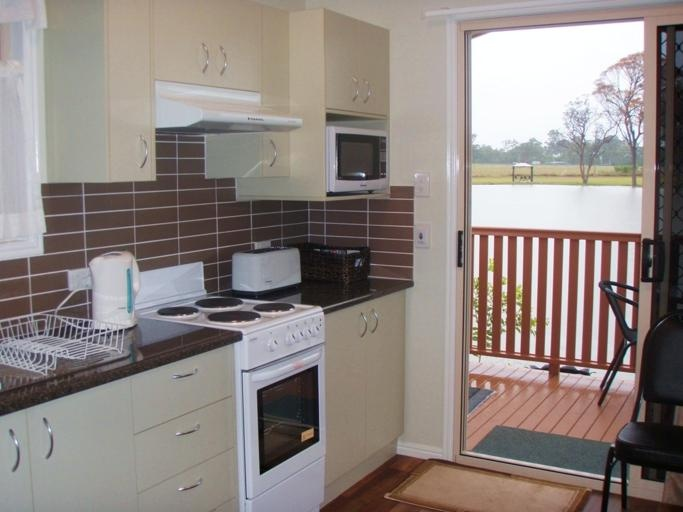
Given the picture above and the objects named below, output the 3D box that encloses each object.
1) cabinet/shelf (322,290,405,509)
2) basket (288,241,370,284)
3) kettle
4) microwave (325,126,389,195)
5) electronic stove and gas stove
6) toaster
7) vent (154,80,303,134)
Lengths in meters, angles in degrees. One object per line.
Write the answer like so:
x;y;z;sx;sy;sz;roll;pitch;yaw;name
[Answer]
0.137;0.686;3.136;0.574;1.030;0.865;3;6;36;cabinet/shelf
-0.061;0.037;3.524;0.384;0.172;0.231;4;6;28;basket
-0.983;0.147;2.389;0.181;0.313;0.177;1;5;-12;kettle
0.034;-0.554;3.263;0.274;0.377;0.520;6;11;41;microwave
-0.554;0.379;2.742;0.823;0.247;0.826;4;4;45;electronic stove and gas stove
-0.438;0.076;3.229;0.208;0.241;0.419;5;10;33;toaster
-0.543;-0.660;2.615;0.619;0.257;0.754;13;16;38;vent
